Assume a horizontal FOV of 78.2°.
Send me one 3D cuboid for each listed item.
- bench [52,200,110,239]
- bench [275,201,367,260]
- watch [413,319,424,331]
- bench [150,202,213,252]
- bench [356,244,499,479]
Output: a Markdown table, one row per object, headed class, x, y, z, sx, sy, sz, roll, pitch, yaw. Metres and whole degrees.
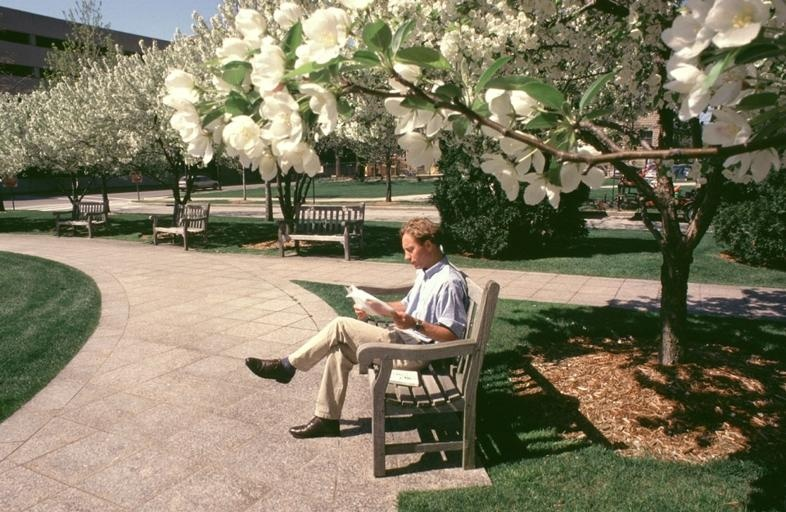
| class | x | y | z | sx | sy | sz | roll | pitch | yaw |
| --- | --- | --- | --- | --- | --- | --- | --- | --- | --- |
| bench | -12.175 | -1.405 | 18.934 | 1.706 | 1.290 | 1.018 | 4 | 11 | 17 |
| bench | -2.059 | -0.672 | 13.692 | 2.308 | 1.485 | 0.982 | 3 | 10 | 27 |
| watch | 0.228 | 0.636 | 4.384 | 0.093 | 0.087 | 0.063 | 11 | 5 | 16 |
| bench | -7.027 | -0.960 | 15.943 | 2.060 | 1.452 | 1.078 | 7 | 10 | 37 |
| bench | 0.304 | 1.105 | 5.503 | 1.154 | 1.630 | 2.676 | 0 | 1 | 0 |
